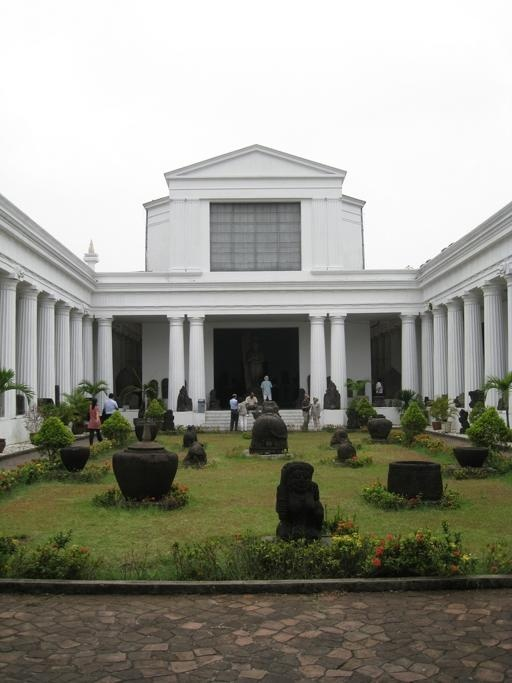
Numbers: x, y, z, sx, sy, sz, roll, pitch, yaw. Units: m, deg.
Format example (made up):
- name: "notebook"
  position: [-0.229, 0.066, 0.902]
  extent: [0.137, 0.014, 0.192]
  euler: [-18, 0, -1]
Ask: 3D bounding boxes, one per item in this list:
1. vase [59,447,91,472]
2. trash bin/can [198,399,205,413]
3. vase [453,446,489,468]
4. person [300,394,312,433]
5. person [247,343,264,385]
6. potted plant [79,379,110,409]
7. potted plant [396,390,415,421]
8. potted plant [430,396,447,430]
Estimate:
- name: "vase"
  position: [-3.756, 2.478, 12.720]
  extent: [0.528, 0.471, 0.518]
  euler: [0, -10, -7]
- name: "trash bin/can"
  position: [-2.572, 3.081, 28.776]
  extent: [0.298, 0.623, 0.240]
  euler: [0, -5, -14]
- name: "vase"
  position: [4.513, 2.453, 12.804]
  extent: [0.700, 0.432, 0.493]
  euler: [0, -4, -7]
- name: "person"
  position: [2.195, 3.207, 27.088]
  extent: [0.429, 1.471, 1.544]
  euler: [-1, -4, 6]
- name: "person"
  position: [-0.096, 1.290, 33.302]
  extent: [0.659, 2.443, 0.855]
  euler: [3, -6, -38]
- name: "potted plant"
  position: [-6.511, 2.175, 24.817]
  extent: [1.168, 1.358, 1.372]
  euler: [1, -14, -11]
- name: "potted plant"
  position: [6.865, 2.866, 27.936]
  extent: [0.781, 1.199, 3.051]
  euler: [-2, -4, 14]
- name: "potted plant"
  position: [7.148, 2.800, 23.925]
  extent: [0.669, 1.327, 1.813]
  euler: [-2, -5, 16]
